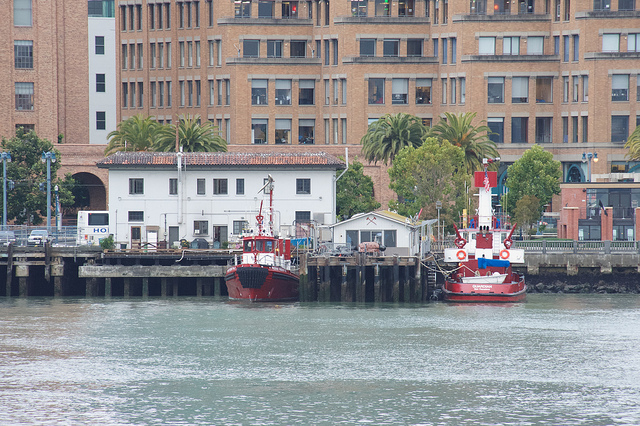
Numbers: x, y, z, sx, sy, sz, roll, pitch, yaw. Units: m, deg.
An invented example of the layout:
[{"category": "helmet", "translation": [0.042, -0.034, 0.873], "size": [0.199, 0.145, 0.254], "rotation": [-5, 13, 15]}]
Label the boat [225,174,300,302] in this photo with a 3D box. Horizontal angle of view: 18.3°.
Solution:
[{"category": "boat", "translation": [-5.723, 3.215, 215.907], "size": [6.736, 12.976, 8.290], "rotation": [-3, -4, 34]}]

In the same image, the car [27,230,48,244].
[{"category": "car", "translation": [-33.264, 3.130, 232.977], "size": [1.648, 1.123, 3.421], "rotation": [0, -4, -7]}]

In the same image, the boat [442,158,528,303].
[{"category": "boat", "translation": [19.307, 2.687, 224.165], "size": [8.922, 14.004, 17.548], "rotation": [2, 1, 7]}]

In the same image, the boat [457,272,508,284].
[{"category": "boat", "translation": [18.492, 7.187, 214.192], "size": [5.897, 1.369, 1.628], "rotation": [0, 0, 7]}]
